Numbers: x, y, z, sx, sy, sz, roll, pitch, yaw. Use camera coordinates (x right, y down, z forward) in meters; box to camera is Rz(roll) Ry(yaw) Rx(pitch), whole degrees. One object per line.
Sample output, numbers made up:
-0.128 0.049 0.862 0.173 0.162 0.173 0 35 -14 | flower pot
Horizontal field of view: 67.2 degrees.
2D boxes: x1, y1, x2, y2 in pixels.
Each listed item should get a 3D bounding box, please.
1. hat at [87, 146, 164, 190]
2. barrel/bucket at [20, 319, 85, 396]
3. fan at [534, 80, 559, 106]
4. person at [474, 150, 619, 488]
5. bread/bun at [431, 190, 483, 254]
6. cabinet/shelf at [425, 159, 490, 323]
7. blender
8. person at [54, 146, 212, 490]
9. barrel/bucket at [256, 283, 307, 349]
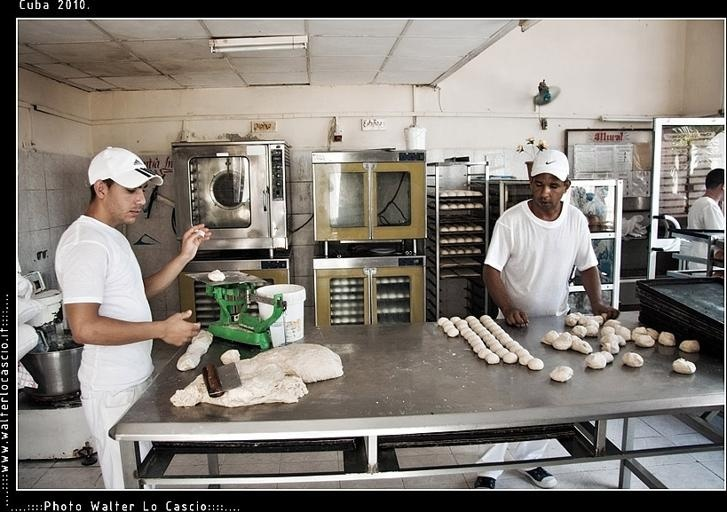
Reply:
-1.196 -0.427 2.754 0.322 0.167 0.223 -4 9 4 | hat
-2.136 0.769 3.869 0.410 0.391 0.416 1 2 0 | barrel/bucket
1.963 -1.720 5.912 0.283 0.158 0.269 -11 2 -3 | fan
1.151 0.492 3.457 0.810 2.130 0.803 5 4 14 | person
0.965 -0.331 5.573 0.532 0.648 0.406 3 9 2 | bread/bun
0.934 -0.222 5.672 0.566 1.817 0.559 0 7 -5 | cabinet/shelf
-2.097 0.615 3.908 0.452 0.932 0.541 1 9 -6 | blender
-1.265 0.532 2.999 0.707 2.086 0.788 2 18 -14 | person
-0.442 0.319 3.003 0.280 0.292 0.272 -1 8 0 | barrel/bucket
